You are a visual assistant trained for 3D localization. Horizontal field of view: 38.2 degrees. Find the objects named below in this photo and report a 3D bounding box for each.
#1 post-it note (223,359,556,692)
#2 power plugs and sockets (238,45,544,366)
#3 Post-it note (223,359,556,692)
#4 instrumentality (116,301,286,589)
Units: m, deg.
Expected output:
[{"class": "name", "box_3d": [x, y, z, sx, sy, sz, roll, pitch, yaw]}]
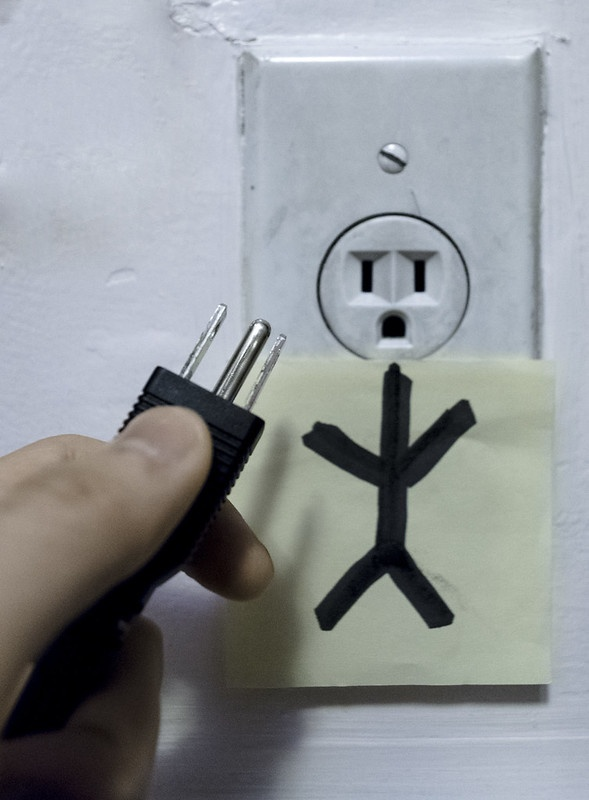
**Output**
[{"class": "post-it note", "box_3d": [0.045, 0.058, 0.406, 0.152, 0.085, 0.138, 1, 57, -3]}, {"class": "power plugs and sockets", "box_3d": [0.049, -0.097, 0.417, 0.148, 0.087, 0.137, 0, 57, -3]}, {"class": "Post-it note", "box_3d": [0.045, 0.058, 0.406, 0.152, 0.085, 0.138, 1, 57, -3]}, {"class": "instrumentality", "box_3d": [-0.041, 0.014, 0.343, 0.050, 0.019, 0.101, 30, 96, 12]}]
